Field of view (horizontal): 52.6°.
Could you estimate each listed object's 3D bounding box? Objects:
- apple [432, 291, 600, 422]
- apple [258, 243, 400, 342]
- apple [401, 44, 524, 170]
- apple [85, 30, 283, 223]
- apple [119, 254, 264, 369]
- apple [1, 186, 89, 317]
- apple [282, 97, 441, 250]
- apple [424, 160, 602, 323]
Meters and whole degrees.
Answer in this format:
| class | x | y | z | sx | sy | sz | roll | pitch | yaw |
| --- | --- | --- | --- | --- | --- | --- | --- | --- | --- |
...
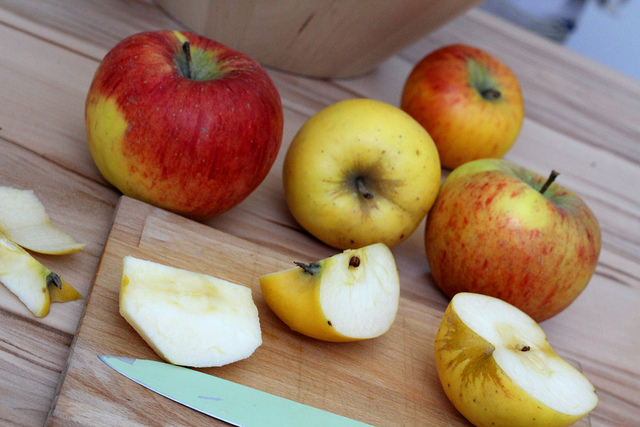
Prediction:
| class | x | y | z | sx | sy | sz | roll | pitch | yaw |
| --- | --- | --- | --- | --- | --- | --- | --- | --- | --- |
| apple | 0.290 | 0.229 | 1.028 | 0.218 | 0.134 | 0.228 | 32 | 14 | -16 |
| apple | 0.030 | 0.138 | 1.101 | 0.235 | 0.161 | 0.259 | 1 | 15 | -12 |
| apple | 0.295 | -0.217 | 1.477 | 0.236 | 0.255 | 0.269 | -1 | 55 | -8 |
| apple | -0.238 | -0.162 | 1.170 | 0.316 | 0.313 | 0.332 | -1 | 43 | -21 |
| apple | -0.196 | 0.180 | 1.004 | 0.185 | 0.064 | 0.164 | 23 | 34 | -15 |
| apple | -0.428 | 0.083 | 0.999 | 0.123 | 0.048 | 0.199 | -25 | 64 | -29 |
| apple | 0.070 | -0.067 | 1.139 | 0.239 | 0.276 | 0.241 | -2 | 6 | -2 |
| apple | 0.323 | 0.071 | 1.268 | 0.271 | 0.288 | 0.289 | 5 | 29 | -15 |
